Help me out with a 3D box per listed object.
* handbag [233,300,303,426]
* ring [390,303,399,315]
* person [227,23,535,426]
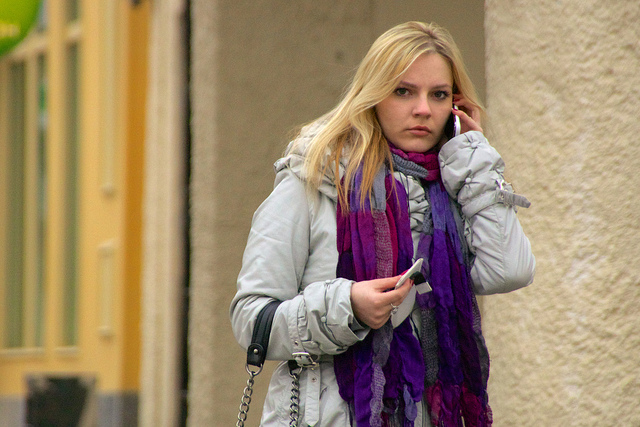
[{"bbox_3d":[-0.294,0.834,7.884,0.305,0.616,0.986,4,-14,-7],"label":"handbag"},{"bbox_3d":[0.378,0.477,7.509,0.021,0.051,0.040,-30,-56,-6],"label":"ring"},{"bbox_3d":[0.325,0.041,7.647,1.413,2.064,0.530,6,-14,-15],"label":"person"}]
